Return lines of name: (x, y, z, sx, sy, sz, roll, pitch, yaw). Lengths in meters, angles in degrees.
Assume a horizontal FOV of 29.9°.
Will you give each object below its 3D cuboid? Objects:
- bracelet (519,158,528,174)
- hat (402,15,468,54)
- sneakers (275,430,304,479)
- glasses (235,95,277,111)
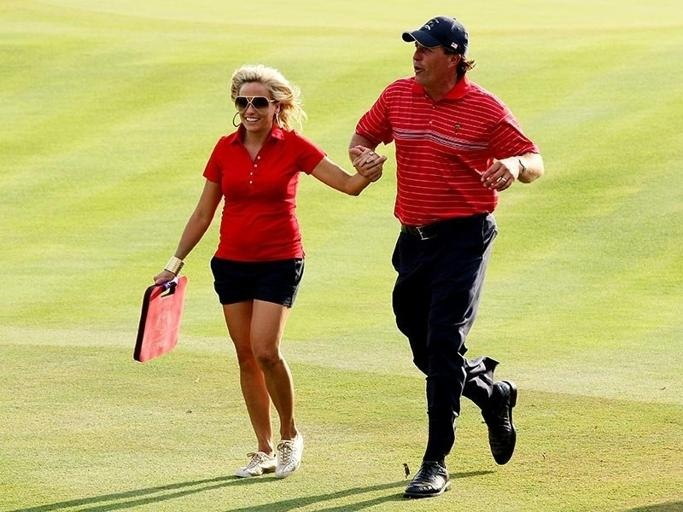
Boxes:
bracelet: (1.361, -0.676, 9.602, 0.055, 0.099, 0.083, 4, 21, -10)
hat: (0.766, -1.719, 9.899, 0.505, 0.185, 0.296, 8, 13, -14)
sneakers: (-0.389, 1.552, 10.068, 0.161, 0.163, 0.391, -19, 27, 23)
glasses: (-0.682, -1.205, 10.087, 0.313, 0.119, 0.131, 1, 2, 0)
